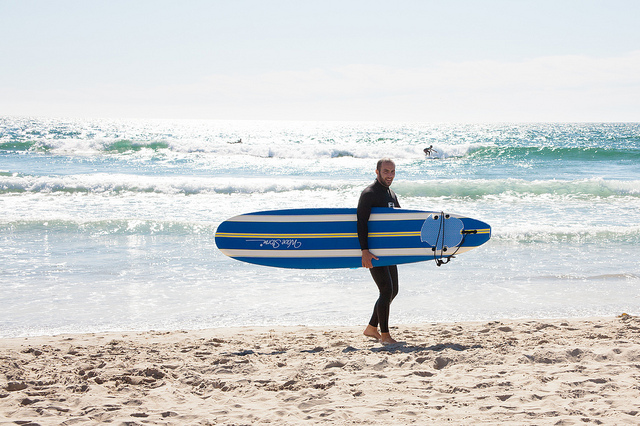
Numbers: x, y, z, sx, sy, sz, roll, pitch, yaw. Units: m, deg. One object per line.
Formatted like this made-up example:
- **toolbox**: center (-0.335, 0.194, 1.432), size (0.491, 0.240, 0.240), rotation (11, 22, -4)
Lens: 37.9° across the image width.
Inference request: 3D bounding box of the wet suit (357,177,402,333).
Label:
- **wet suit**: center (1.134, 0.829, 18.261), size (0.745, 3.031, 0.632), rotation (-4, 9, 4)
